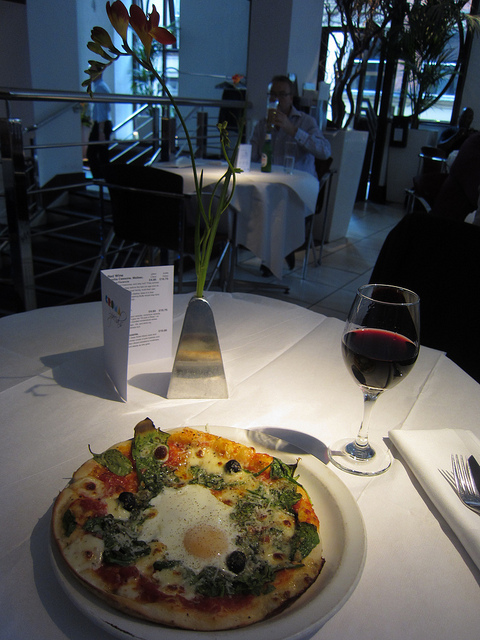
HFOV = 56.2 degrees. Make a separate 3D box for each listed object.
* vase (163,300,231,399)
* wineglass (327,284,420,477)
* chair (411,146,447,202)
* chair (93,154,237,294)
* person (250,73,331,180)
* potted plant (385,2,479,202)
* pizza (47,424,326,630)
[{"bbox_3d":[-0.057,0.027,0.766,0.119,0.203,0.142,-1,11,-3],"label":"vase"},{"bbox_3d":[0.176,0.063,0.584,0.087,0.208,0.196,7,11,17],"label":"wineglass"},{"bbox_3d":[1.528,-1.129,3.519,0.236,0.443,0.272,-4,29,-6],"label":"chair"},{"bbox_3d":[-0.603,-0.451,2.673,0.549,0.728,0.491,-6,2,-37],"label":"chair"},{"bbox_3d":[0.378,-1.408,3.729,0.595,1.044,0.577,4,20,33],"label":"person"},{"bbox_3d":[2.750,-3.072,6.741,0.893,2.471,2.181,7,11,16],"label":"potted plant"},{"bbox_3d":[-0.038,0.153,0.394,0.227,0.040,0.240,5,11,4],"label":"pizza"}]
